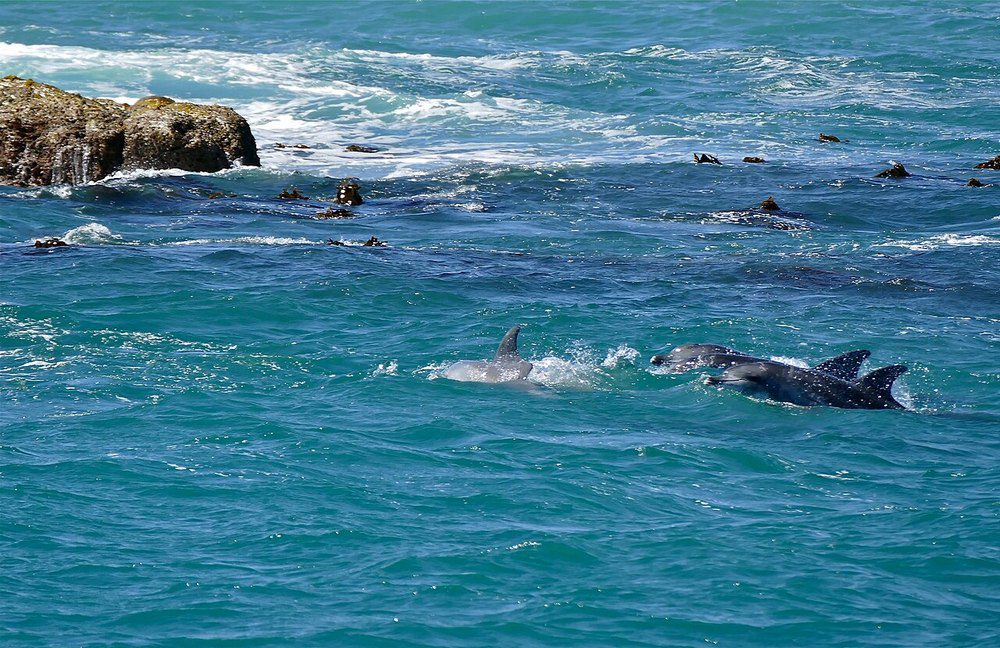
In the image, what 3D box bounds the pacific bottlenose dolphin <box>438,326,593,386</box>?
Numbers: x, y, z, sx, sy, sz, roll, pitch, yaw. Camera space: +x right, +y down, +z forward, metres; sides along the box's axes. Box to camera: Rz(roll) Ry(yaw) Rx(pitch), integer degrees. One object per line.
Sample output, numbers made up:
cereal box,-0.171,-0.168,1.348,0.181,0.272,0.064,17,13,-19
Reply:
pacific bottlenose dolphin,-0.128,0.848,46.052,2.694,1.554,0.903,0,14,0
